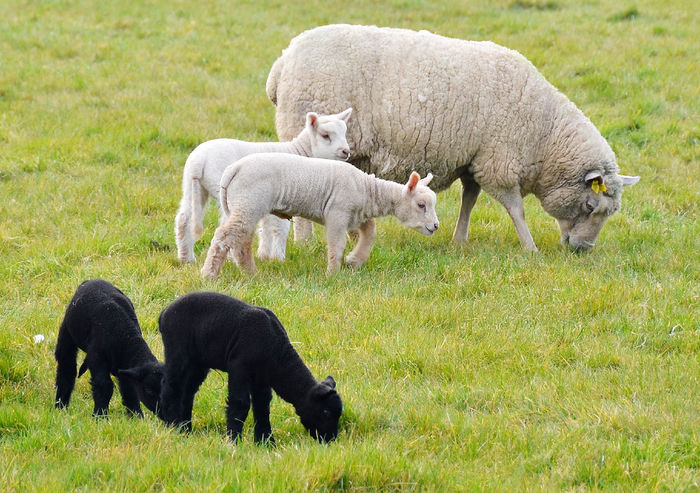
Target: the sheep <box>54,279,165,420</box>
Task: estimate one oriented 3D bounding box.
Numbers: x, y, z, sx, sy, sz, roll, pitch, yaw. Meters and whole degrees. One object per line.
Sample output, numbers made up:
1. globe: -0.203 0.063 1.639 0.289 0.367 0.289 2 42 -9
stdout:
1. sheep: -2.673 1.224 11.584 0.759 1.475 2.355 -6 17 -37
